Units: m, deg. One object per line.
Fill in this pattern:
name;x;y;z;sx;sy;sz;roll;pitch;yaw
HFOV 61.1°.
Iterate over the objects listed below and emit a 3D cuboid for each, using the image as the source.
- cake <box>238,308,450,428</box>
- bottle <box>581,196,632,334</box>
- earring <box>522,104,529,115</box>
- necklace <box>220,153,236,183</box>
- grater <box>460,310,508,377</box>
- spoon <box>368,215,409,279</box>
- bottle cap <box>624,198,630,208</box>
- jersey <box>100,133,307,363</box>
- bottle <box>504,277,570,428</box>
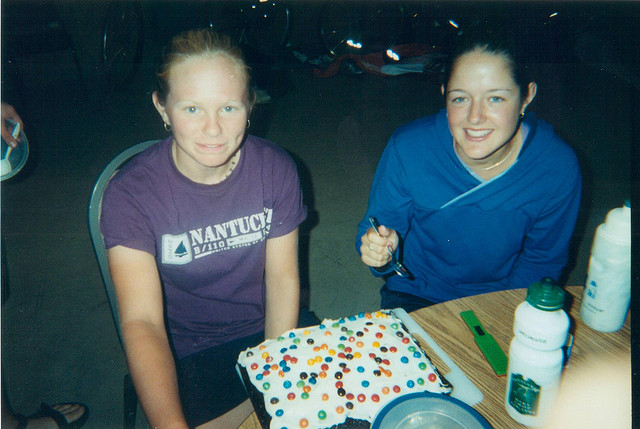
cake;0.086;0.560;2.005;0.555;0.155;0.378;-13;54;-9
bottle;1.092;0.214;2.033;0.140;0.535;0.113;-9;21;-4
earring;0.936;-0.477;2.466;0.020;0.046;0.022;7;25;31
necklace;-0.409;-0.218;2.382;0.010;0.085;0.068;30;4;20
grater;0.644;0.489;2.094;0.194;0.173;0.190;4;17;13
spoon;0.320;0.139;2.504;0.062;0.341;0.050;-31;-11;-23
bottle cap;1.129;-0.048;1.982;0.016;0.034;0.059;4;22;26
jersey;-0.484;0.123;2.465;0.898;0.967;0.329;-14;22;-20
bottle;0.765;0.479;1.899;0.232;0.537;0.164;-4;21;7
